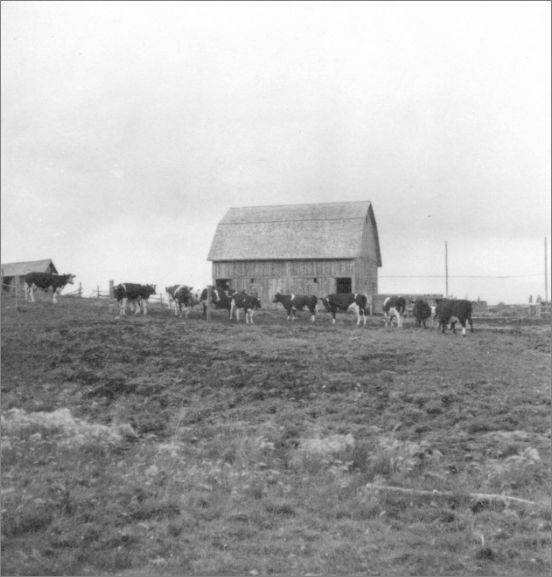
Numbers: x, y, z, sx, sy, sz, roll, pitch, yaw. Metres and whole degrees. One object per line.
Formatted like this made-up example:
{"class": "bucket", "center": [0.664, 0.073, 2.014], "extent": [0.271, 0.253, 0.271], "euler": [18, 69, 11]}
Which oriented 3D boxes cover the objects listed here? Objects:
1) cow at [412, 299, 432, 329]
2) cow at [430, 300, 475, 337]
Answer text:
{"class": "cow", "center": [7.133, 1.354, 33.865], "extent": [0.904, 1.392, 3.094], "euler": [1, 11, 13]}
{"class": "cow", "center": [7.847, 1.160, 30.978], "extent": [0.530, 1.723, 2.028], "euler": [-7, 4, -34]}
